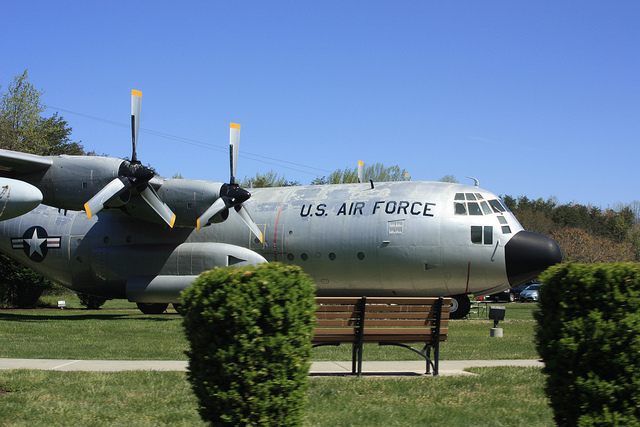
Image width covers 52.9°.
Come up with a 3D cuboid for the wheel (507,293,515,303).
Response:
[{"bbox_3d":[15.261,6.709,50.904,0.300,0.777,0.906,4,8,38],"label":"wheel"}]
